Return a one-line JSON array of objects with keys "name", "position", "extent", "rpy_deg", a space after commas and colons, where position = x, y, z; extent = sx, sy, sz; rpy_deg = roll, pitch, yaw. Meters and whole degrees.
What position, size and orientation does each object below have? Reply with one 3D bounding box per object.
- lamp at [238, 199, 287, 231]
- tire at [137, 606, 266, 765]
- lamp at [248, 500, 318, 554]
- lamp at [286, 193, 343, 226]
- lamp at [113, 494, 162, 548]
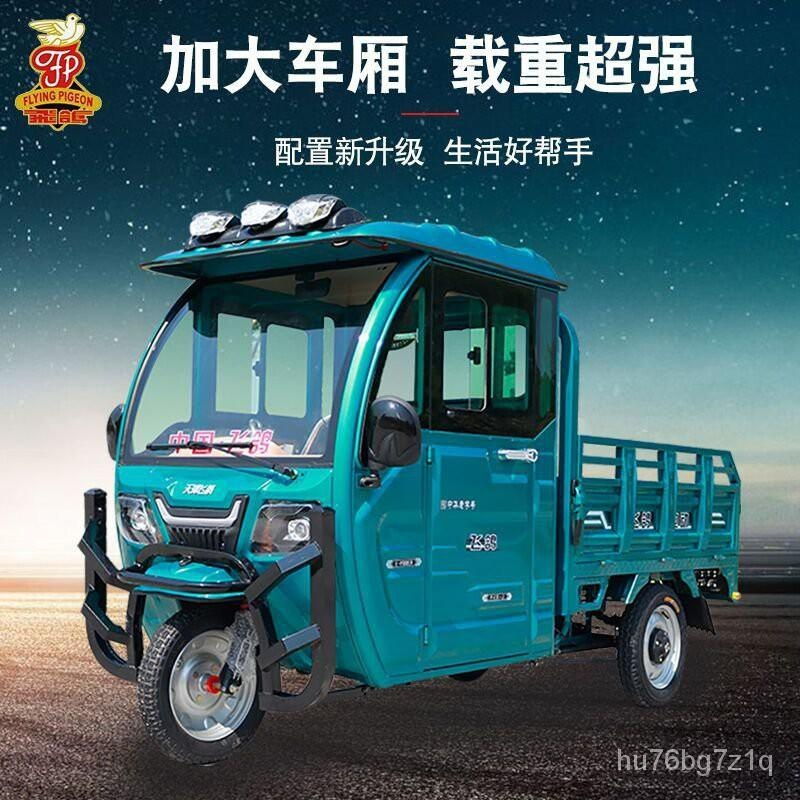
[{"name": "lamp", "position": [-0.805, -1.019, 4.902], "extent": [0.350, 0.163, 0.192], "rpy_deg": [1, 3, 28]}, {"name": "tire", "position": [-0.986, 1.437, 4.475], "extent": [0.237, 0.697, 0.834], "rpy_deg": [-13, -9, 33]}, {"name": "lamp", "position": [-0.555, 0.631, 4.330], "extent": [0.402, 0.257, 0.078], "rpy_deg": [1, 3, 36]}, {"name": "lamp", "position": [-0.500, -1.000, 4.682], "extent": [0.320, 0.179, 0.279], "rpy_deg": [0, 2, 14]}, {"name": "lamp", "position": [-1.478, 0.670, 4.944], "extent": [0.246, 0.288, 0.119], "rpy_deg": [-10, 10, 37]}]
